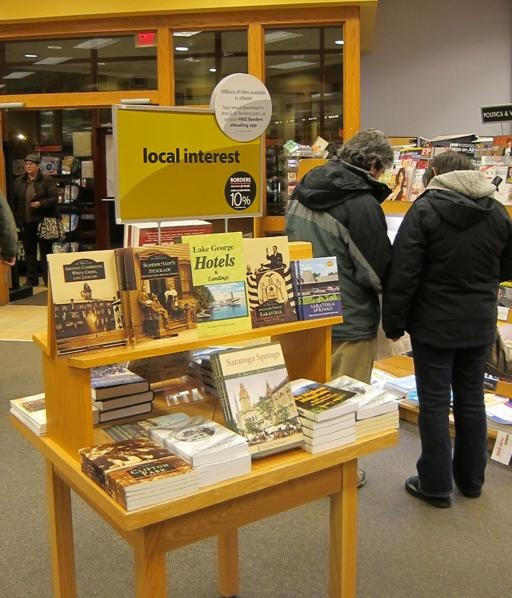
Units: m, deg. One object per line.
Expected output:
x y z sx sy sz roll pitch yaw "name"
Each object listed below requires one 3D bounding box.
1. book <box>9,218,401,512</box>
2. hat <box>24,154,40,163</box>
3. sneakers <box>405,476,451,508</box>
-0.251 0.160 1.399 0.860 0.543 0.553 -9 12 -39 "book"
-3.571 -2.212 8.024 0.192 0.122 0.135 -1 7 34 "hat"
0.882 0.980 2.601 0.088 0.081 0.213 -10 16 -28 "sneakers"
